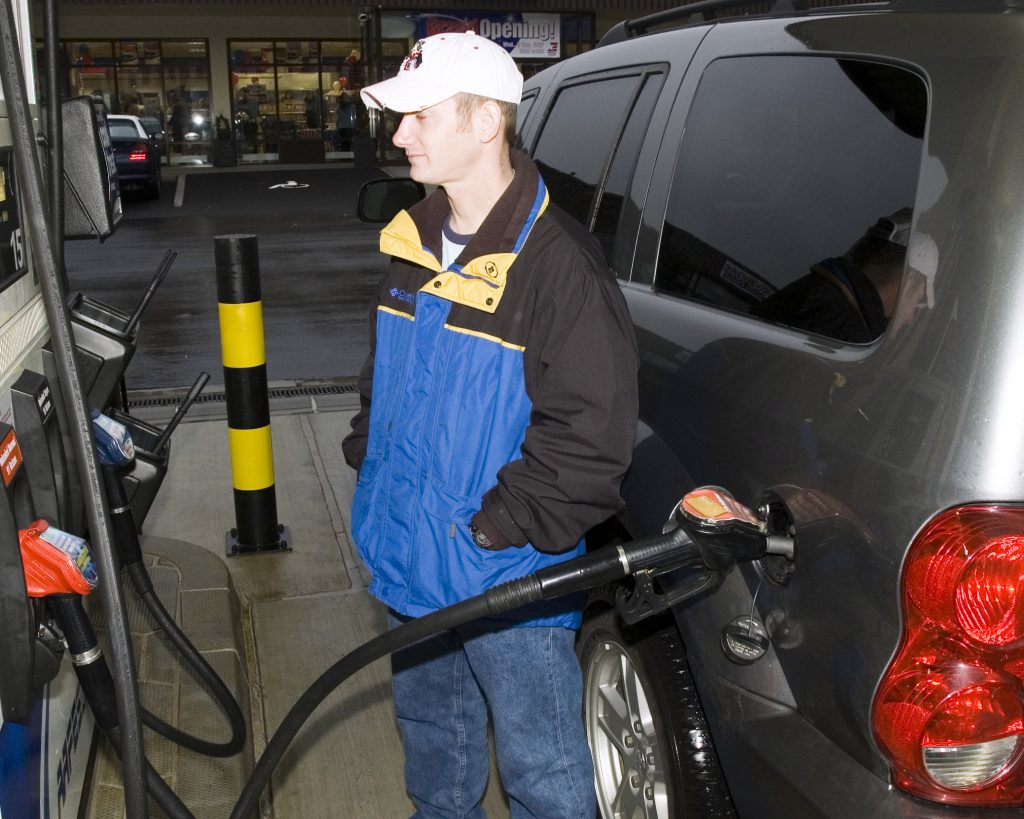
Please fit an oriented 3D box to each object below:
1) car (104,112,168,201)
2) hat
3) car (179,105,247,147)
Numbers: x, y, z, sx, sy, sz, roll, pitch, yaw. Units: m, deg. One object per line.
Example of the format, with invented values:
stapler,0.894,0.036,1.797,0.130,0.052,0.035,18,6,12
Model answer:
car,-9.103,-6.064,18.621,1.019,1.733,2.468,-8,24,-24
hat,-0.142,-0.783,1.826,0.283,0.168,0.230,8,19,-10
car,-11.222,-10.271,28.799,2.054,1.577,1.191,2,13,-2
